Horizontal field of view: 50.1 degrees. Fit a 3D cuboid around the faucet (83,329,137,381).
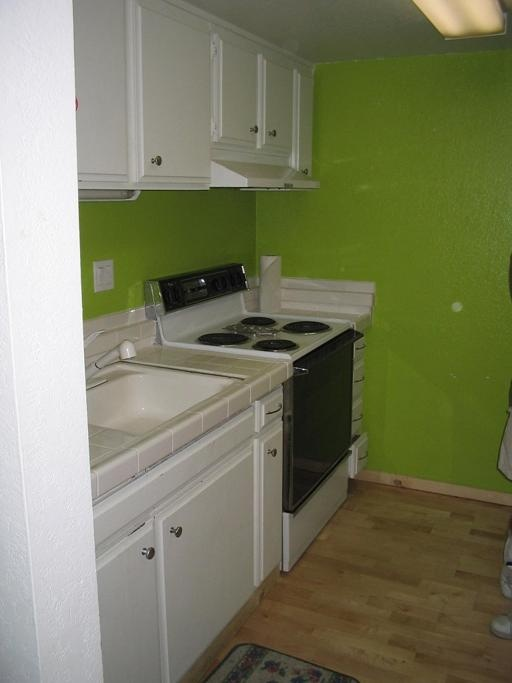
[{"bbox_3d":[-0.530,0.055,1.963,0.062,0.106,0.260,11,33,35],"label":"faucet"}]
